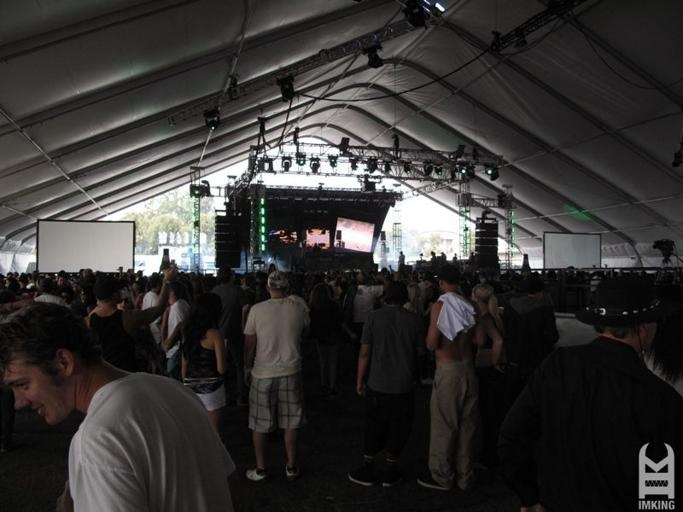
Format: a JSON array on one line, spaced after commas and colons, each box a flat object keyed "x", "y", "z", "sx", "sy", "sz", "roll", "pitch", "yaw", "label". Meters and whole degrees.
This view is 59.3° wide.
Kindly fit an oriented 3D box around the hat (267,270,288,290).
[{"x": -0.726, "y": 0.271, "z": 6.813, "sx": 0.239, "sy": 0.189, "sz": 0.403, "roll": 4, "pitch": 1, "yaw": -7, "label": "hat"}]

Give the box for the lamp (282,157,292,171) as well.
[{"x": -2.236, "y": -3.709, "z": 24.304, "sx": 0.357, "sy": 0.560, "sz": 0.797, "roll": 1, "pitch": 5, "yaw": -6, "label": "lamp"}]

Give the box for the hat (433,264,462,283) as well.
[{"x": 1.191, "y": 0.196, "z": 6.679, "sx": 0.179, "sy": 0.219, "sz": 0.235, "roll": 5, "pitch": 17, "yaw": -7, "label": "hat"}]

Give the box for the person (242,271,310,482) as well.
[{"x": -0.739, "y": 1.291, "z": 6.704, "sx": 0.677, "sy": 2.188, "sz": 0.688, "roll": 1, "pitch": 4, "yaw": -7, "label": "person"}]

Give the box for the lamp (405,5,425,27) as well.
[{"x": 1.417, "y": -4.639, "z": 11.643, "sx": 0.415, "sy": 0.324, "sz": 0.599, "roll": 2, "pitch": 5, "yaw": 4, "label": "lamp"}]

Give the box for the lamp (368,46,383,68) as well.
[{"x": 0.750, "y": -4.623, "z": 13.866, "sx": 0.306, "sy": 0.413, "sz": 0.846, "roll": 2, "pitch": 5, "yaw": 10, "label": "lamp"}]

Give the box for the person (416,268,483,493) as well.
[{"x": 1.151, "y": 1.431, "z": 6.392, "sx": 0.591, "sy": 2.031, "sz": 0.350, "roll": 1, "pitch": 4, "yaw": 5, "label": "person"}]

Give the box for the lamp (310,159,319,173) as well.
[{"x": -1.104, "y": -3.697, "z": 24.420, "sx": 0.498, "sy": 0.674, "sz": 0.245, "roll": 1, "pitch": -4, "yaw": -11, "label": "lamp"}]

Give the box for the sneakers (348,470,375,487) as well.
[{"x": 0.225, "y": 2.376, "z": 6.476, "sx": 0.272, "sy": 0.220, "sz": 0.124, "roll": 0, "pitch": -28, "yaw": 30, "label": "sneakers"}]

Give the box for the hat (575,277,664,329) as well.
[{"x": 1.981, "y": 0.261, "z": 4.230, "sx": 0.430, "sy": 0.175, "sz": 0.385, "roll": -14, "pitch": 4, "yaw": -38, "label": "hat"}]

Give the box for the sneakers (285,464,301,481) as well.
[{"x": -0.538, "y": 2.336, "z": 6.553, "sx": 0.156, "sy": 0.136, "sz": 0.180, "roll": 1, "pitch": 5, "yaw": -3, "label": "sneakers"}]

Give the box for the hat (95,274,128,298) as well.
[{"x": -2.470, "y": 0.324, "z": 6.332, "sx": 0.258, "sy": 0.231, "sz": 0.346, "roll": 0, "pitch": 5, "yaw": -16, "label": "hat"}]

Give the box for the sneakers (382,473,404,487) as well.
[{"x": 0.544, "y": 2.390, "z": 6.431, "sx": 0.089, "sy": 0.110, "sz": 0.264, "roll": -6, "pitch": -11, "yaw": 42, "label": "sneakers"}]

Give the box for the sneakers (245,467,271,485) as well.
[{"x": -0.904, "y": 2.365, "z": 6.478, "sx": 0.254, "sy": 0.116, "sz": 0.104, "roll": 2, "pitch": 7, "yaw": 17, "label": "sneakers"}]
